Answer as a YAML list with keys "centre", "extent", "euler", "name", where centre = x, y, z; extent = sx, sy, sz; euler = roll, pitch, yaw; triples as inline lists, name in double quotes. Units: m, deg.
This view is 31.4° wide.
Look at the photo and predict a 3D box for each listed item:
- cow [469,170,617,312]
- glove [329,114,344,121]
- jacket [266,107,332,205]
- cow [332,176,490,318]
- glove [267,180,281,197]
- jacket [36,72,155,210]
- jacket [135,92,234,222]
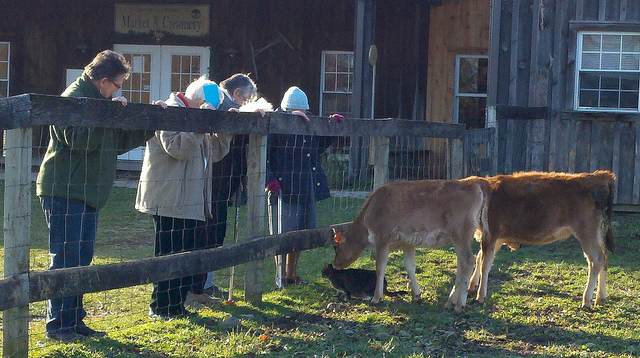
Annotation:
- centre: [4.082, 1.228, 23.357]
  extent: [3.762, 2.801, 1.035]
  euler: [0, 5, 16]
  name: "cow"
- centre: [0.355, -1.284, 23.381]
  extent: [0.256, 0.126, 0.503]
  euler: [2, 4, 0]
  name: "glove"
- centre: [-0.493, -0.468, 23.312]
  extent: [1.785, 2.070, 1.034]
  euler: [-4, 7, -37]
  name: "jacket"
- centre: [1.775, 1.338, 23.177]
  extent: [3.465, 2.781, 0.954]
  euler: [-1, 6, 26]
  name: "cow"
- centre: [-0.925, 0.186, 23.333]
  extent: [0.294, 0.255, 0.241]
  euler: [-1, 2, -35]
  name: "glove"
- centre: [-4.289, -0.774, 22.236]
  extent: [2.302, 2.766, 1.751]
  euler: [3, -2, -40]
  name: "jacket"
- centre: [-2.698, -0.535, 22.743]
  extent: [1.634, 2.692, 1.813]
  euler: [1, 0, 18]
  name: "jacket"
